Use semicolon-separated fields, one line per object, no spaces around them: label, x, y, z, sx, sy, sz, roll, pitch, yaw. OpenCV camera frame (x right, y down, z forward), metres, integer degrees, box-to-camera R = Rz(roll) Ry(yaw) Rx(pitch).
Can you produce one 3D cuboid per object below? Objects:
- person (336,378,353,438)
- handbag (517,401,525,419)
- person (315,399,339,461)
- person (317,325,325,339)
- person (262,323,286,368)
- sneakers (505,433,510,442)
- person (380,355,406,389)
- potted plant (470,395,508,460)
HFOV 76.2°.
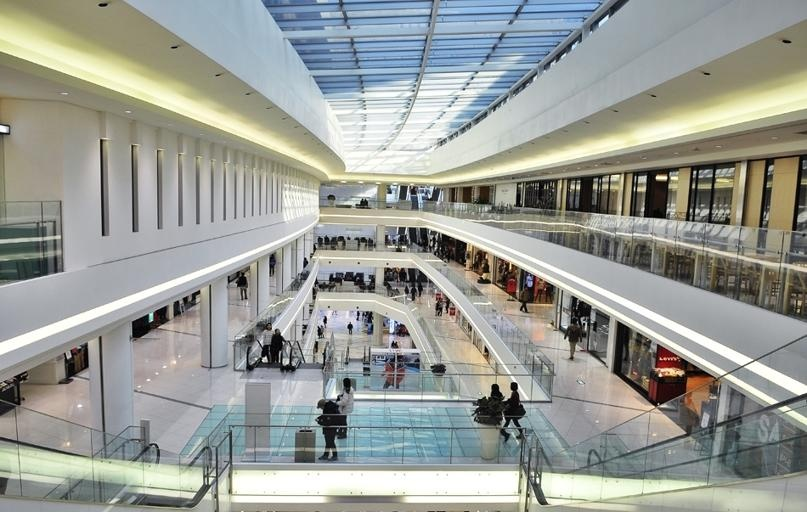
person;-1.453;3.612;12.170;0.464;1.391;0.500;8;2;-5
handbag;2.750;3.597;12.058;0.273;0.253;0.255;-3;1;15
person;-1.696;3.853;11.427;0.528;1.263;0.499;5;-20;-8
person;-5.152;4.643;31.684;0.405;0.821;1.379;7;-19;-12
person;-4.097;2.762;15.992;0.641;1.212;1.676;8;-20;-14
sneakers;2.321;4.106;11.627;0.132;0.196;0.124;2;1;-6
person;-0.231;3.120;13.818;0.791;1.026;0.728;-8;-16;35
potted plant;1.911;3.893;11.684;0.704;1.401;0.622;1;-20;5
